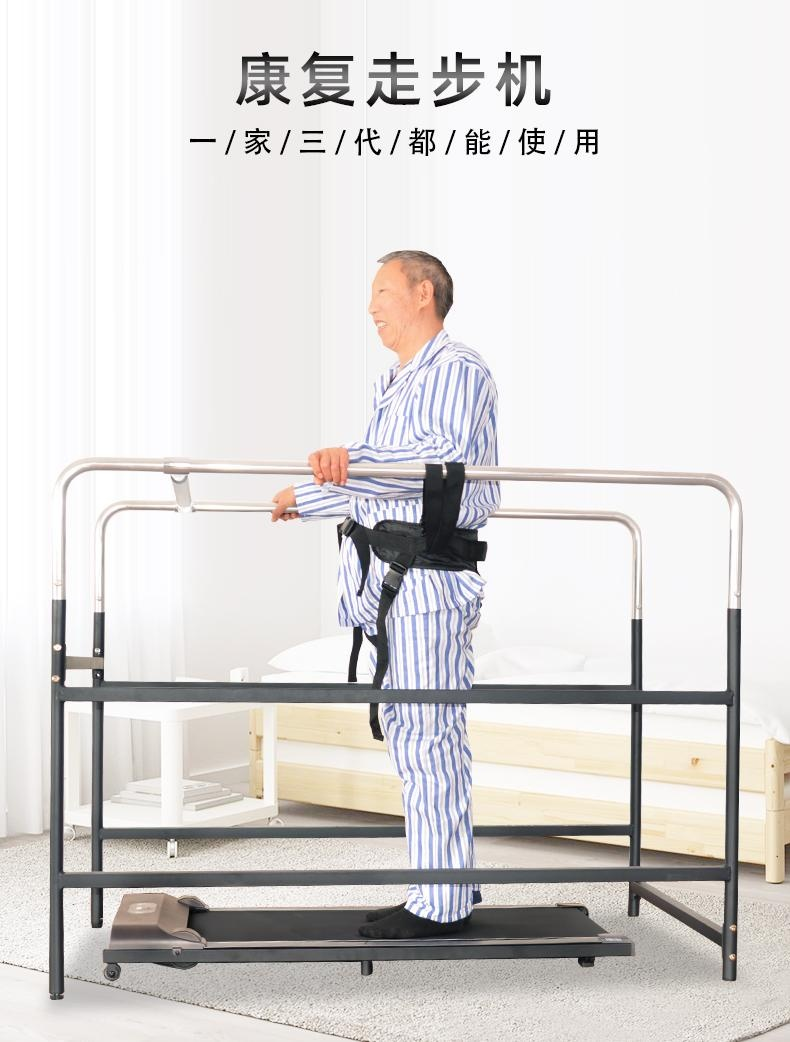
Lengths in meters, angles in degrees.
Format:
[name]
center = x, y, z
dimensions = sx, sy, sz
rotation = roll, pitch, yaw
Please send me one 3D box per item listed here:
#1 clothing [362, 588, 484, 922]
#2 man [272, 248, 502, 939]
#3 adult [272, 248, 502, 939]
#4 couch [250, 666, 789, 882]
[clothing]
center = 0.058, 0.353, 2.169
dimensions = 0.162, 0.542, 0.162
rotation = -1, 3, -2
[man]
center = 0.023, 0.102, 2.254
dimensions = 0.389, 1.147, 0.386
rotation = 1, -1, -22
[adult]
center = -0.013, 0.122, 2.244
dimensions = 0.400, 1.201, 0.492
rotation = -1, 4, -10
[couch]
center = 0.429, 0.614, 3.176
dimensions = 1.314, 0.442, 0.661
rotation = 1, 1, 35
